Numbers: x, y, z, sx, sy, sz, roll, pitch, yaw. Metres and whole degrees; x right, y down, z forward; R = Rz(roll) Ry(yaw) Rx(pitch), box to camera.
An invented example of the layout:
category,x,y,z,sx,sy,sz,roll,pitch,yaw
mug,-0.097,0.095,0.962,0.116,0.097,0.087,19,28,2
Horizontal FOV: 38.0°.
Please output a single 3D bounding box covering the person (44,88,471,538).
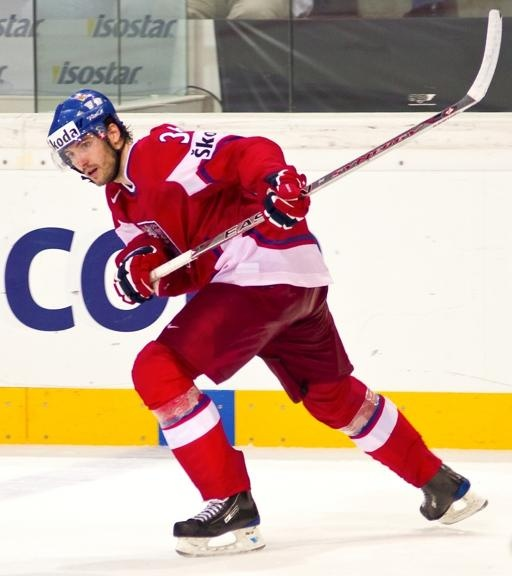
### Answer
category,x,y,z,sx,sy,sz,roll,pitch,yaw
person,-0.032,0.071,2.190,0.814,1.326,0.721,0,4,40
